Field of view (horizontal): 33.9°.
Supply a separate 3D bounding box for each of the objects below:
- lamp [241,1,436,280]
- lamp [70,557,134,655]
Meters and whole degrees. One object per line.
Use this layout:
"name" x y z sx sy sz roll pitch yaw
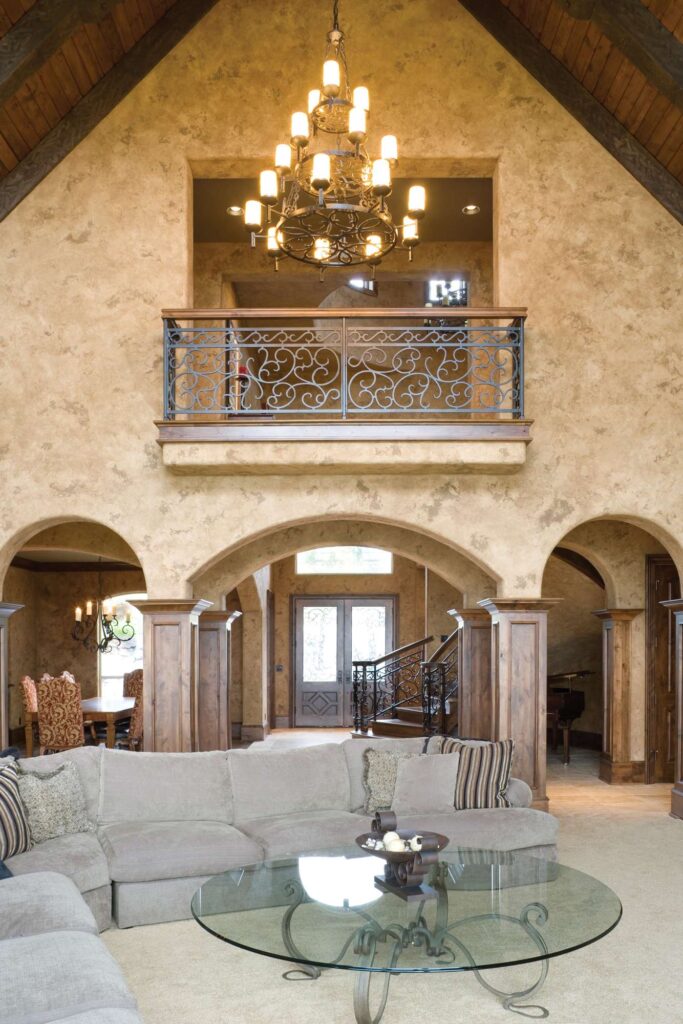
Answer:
"lamp" -0.083 -2.747 7.778 1.103 2.409 2.935 1 -6 -3
"lamp" -3.163 1.271 14.952 0.708 1.152 1.379 -2 -6 16
